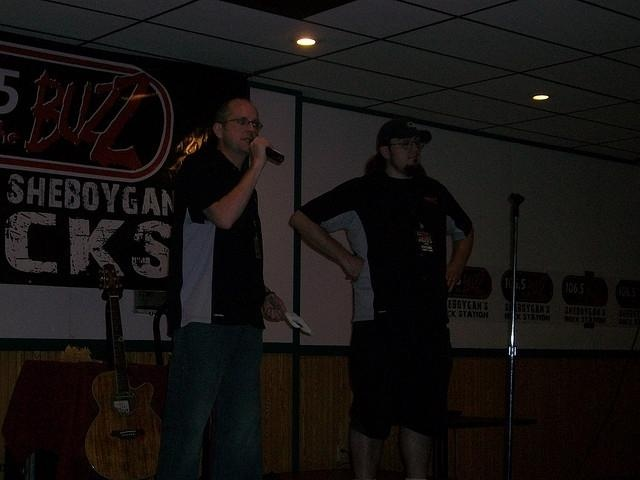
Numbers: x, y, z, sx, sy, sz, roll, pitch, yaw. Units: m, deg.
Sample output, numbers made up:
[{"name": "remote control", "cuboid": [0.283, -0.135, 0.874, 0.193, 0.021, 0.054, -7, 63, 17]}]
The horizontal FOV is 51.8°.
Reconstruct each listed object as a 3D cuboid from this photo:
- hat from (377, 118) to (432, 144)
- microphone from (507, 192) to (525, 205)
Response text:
[{"name": "hat", "cuboid": [0.483, -0.650, 4.001, 0.228, 0.124, 0.172, -7, -4, 31]}, {"name": "microphone", "cuboid": [1.400, -0.286, 4.718, 0.078, 0.114, 0.275, 4, -3, 11]}]
